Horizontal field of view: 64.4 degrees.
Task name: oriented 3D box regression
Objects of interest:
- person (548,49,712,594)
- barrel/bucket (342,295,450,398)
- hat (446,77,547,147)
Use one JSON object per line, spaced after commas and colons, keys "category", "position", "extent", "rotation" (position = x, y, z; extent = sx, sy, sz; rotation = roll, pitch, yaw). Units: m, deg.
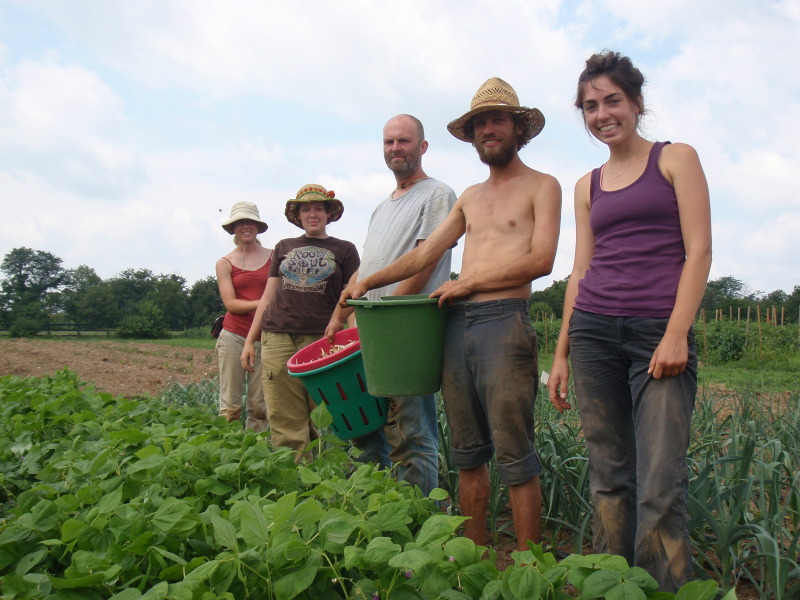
{"category": "person", "position": [0.982, 0.033, 2.724], "extent": [0.621, 2.201, 0.481], "rotation": [3, -3, 27]}
{"category": "barrel/bucket", "position": [0.016, 0.211, 3.100], "extent": [0.446, 0.422, 0.483], "rotation": [-1, -7, 0]}
{"category": "hat", "position": [0.497, -1.039, 3.337], "extent": [0.446, 0.248, 0.457], "rotation": [-3, 10, -7]}
